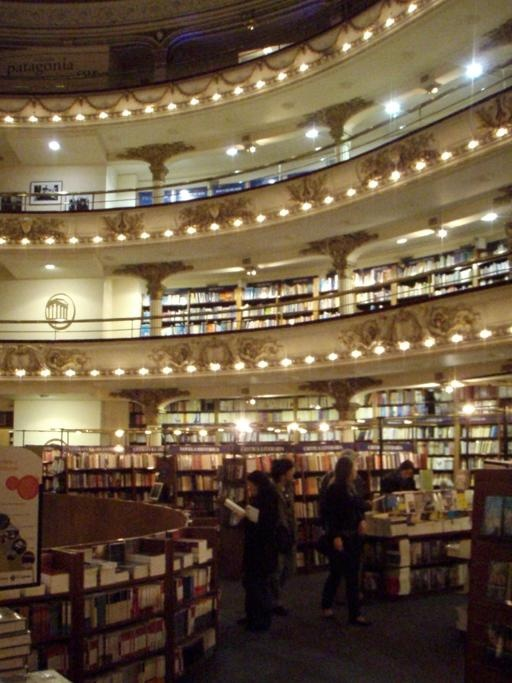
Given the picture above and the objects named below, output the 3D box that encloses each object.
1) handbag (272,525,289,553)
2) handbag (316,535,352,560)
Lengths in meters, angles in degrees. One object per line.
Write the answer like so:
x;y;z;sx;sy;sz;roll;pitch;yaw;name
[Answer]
0.202;1.534;4.990;0.108;0.225;0.145;-1;-4;11;handbag
0.602;1.672;5.316;0.116;0.168;0.326;3;-5;-39;handbag
